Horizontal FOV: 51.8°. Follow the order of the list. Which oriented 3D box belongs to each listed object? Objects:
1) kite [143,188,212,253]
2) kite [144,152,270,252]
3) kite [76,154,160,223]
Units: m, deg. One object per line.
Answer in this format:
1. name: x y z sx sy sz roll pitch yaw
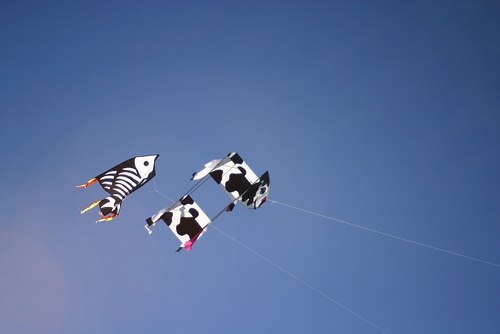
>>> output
1. kite: -1.558 1.249 11.211 1.084 1.090 0.745 40 -47 -11
2. kite: -0.850 0.497 11.204 2.179 2.453 0.752 44 -8 23
3. kite: -2.701 0.395 10.766 0.938 2.040 0.507 60 -7 0
